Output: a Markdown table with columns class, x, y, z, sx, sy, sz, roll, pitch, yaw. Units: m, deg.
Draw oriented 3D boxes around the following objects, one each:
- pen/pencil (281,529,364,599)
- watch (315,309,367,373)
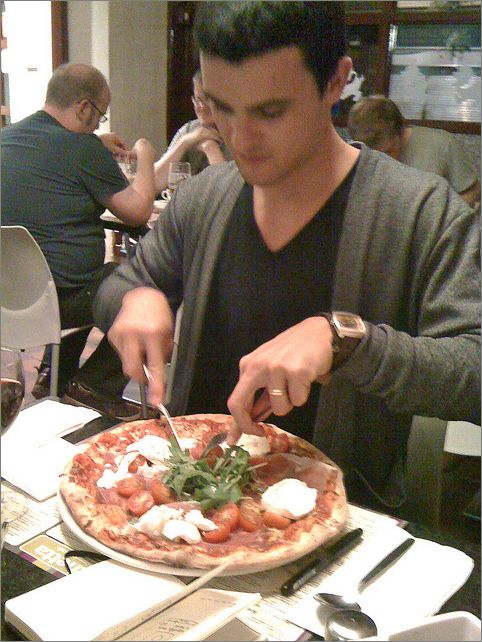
| class | x | y | z | sx | sy | sz | roll | pitch | yaw |
| --- | --- | --- | --- | --- | --- | --- | --- | --- | --- |
| pen/pencil | 0.088 | 0.276 | 0.600 | 0.094 | 0.014 | 0.015 | -23 | -17 | -36 |
| watch | 0.159 | 0.028 | 0.865 | 0.056 | 0.089 | 0.086 | 12 | 25 | -18 |
